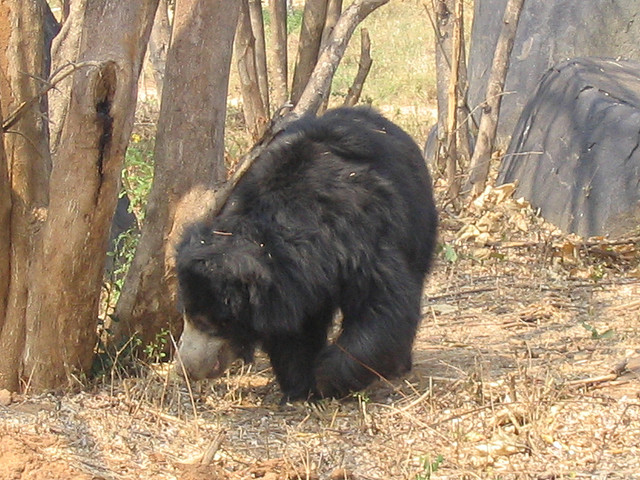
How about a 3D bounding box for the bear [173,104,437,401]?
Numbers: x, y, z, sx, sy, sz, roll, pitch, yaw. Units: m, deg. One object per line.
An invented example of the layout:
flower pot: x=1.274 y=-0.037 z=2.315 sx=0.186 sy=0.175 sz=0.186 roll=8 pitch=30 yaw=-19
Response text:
bear: x=-0.082 y=0.127 z=5.336 sx=1.634 sy=1.623 sz=0.853 roll=-5 pitch=14 yaw=-12
